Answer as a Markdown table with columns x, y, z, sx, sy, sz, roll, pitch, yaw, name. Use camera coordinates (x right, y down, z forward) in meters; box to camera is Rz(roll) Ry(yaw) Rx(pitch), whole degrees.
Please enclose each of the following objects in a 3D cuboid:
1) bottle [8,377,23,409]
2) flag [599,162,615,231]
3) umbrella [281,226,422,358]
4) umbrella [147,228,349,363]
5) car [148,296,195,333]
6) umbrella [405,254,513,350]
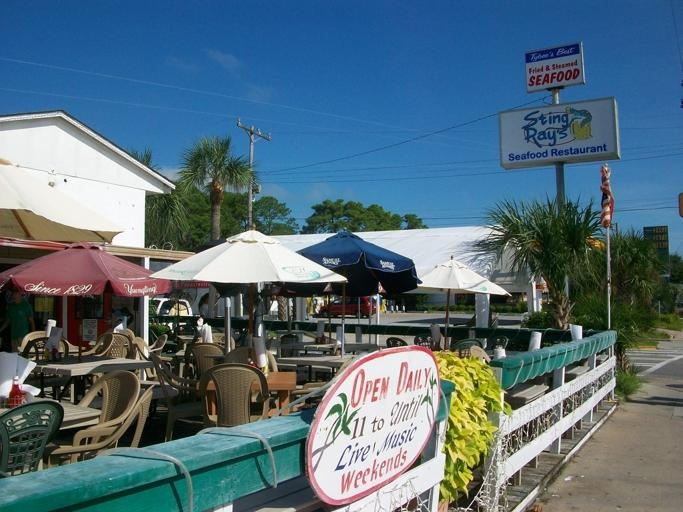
| x | y | z | sx | sy | sz | roll | pitch | yaw | name |
| --- | --- | --- | --- | --- | --- | --- | --- | --- | --- |
| -2.623 | 1.091 | 5.308 | 0.115 | 0.234 | 0.331 | 5 | 0 | -26 | bottle |
| 4.860 | -1.142 | 12.052 | 0.255 | 1.256 | 1.315 | 5 | 0 | 21 | flag |
| 0.353 | 0.198 | 10.680 | 1.695 | 1.336 | 1.614 | 7 | -13 | -34 | umbrella |
| -1.151 | 0.139 | 8.373 | 2.468 | 0.992 | 2.189 | 0 | 1 | -37 | umbrella |
| -5.717 | 2.106 | 22.458 | 1.450 | 1.395 | 0.938 | -4 | 5 | 4 | car |
| 2.105 | 0.845 | 11.587 | 1.522 | 1.388 | 1.580 | 3 | 4 | 19 | umbrella |
